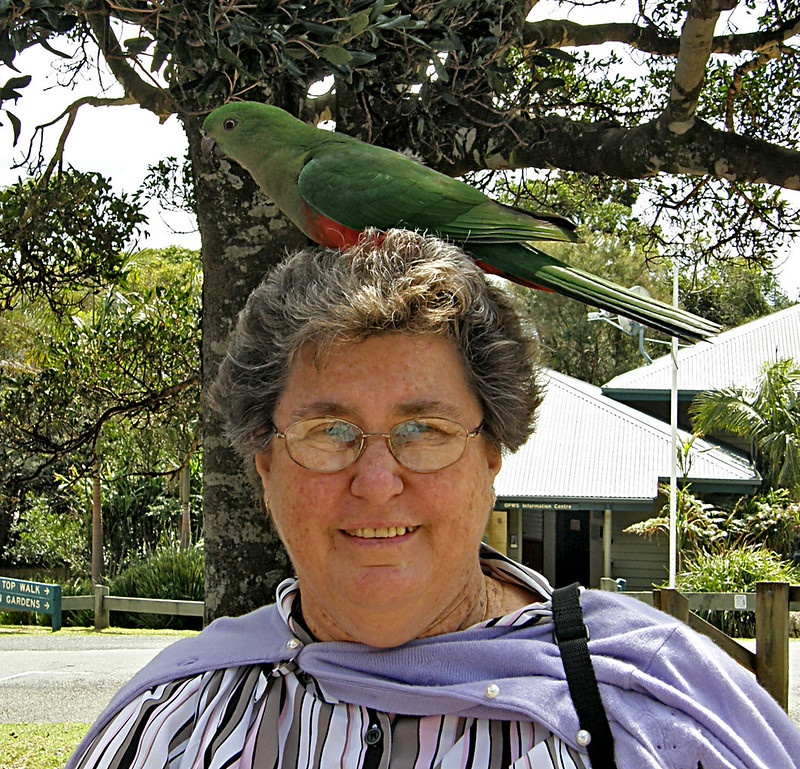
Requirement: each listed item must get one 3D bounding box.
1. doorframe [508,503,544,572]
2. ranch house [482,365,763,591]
[{"bbox_3d":[2.826,3.303,21.350,0.689,1.137,1.241,4,-8,10],"label":"doorframe"},{"bbox_3d":[3.361,1.732,18.101,5.330,2.183,4.438,1,-4,1],"label":"ranch house"}]
